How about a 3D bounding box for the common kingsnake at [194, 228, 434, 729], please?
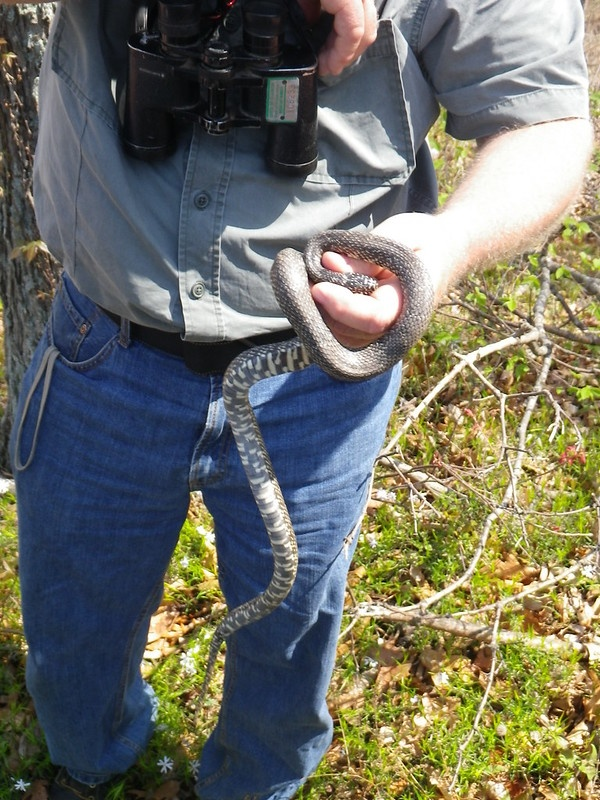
[{"bbox_3d":[-0.127,0.561,2.432,0.346,2.392,0.495,-8,41,-24],"label":"common kingsnake"}]
